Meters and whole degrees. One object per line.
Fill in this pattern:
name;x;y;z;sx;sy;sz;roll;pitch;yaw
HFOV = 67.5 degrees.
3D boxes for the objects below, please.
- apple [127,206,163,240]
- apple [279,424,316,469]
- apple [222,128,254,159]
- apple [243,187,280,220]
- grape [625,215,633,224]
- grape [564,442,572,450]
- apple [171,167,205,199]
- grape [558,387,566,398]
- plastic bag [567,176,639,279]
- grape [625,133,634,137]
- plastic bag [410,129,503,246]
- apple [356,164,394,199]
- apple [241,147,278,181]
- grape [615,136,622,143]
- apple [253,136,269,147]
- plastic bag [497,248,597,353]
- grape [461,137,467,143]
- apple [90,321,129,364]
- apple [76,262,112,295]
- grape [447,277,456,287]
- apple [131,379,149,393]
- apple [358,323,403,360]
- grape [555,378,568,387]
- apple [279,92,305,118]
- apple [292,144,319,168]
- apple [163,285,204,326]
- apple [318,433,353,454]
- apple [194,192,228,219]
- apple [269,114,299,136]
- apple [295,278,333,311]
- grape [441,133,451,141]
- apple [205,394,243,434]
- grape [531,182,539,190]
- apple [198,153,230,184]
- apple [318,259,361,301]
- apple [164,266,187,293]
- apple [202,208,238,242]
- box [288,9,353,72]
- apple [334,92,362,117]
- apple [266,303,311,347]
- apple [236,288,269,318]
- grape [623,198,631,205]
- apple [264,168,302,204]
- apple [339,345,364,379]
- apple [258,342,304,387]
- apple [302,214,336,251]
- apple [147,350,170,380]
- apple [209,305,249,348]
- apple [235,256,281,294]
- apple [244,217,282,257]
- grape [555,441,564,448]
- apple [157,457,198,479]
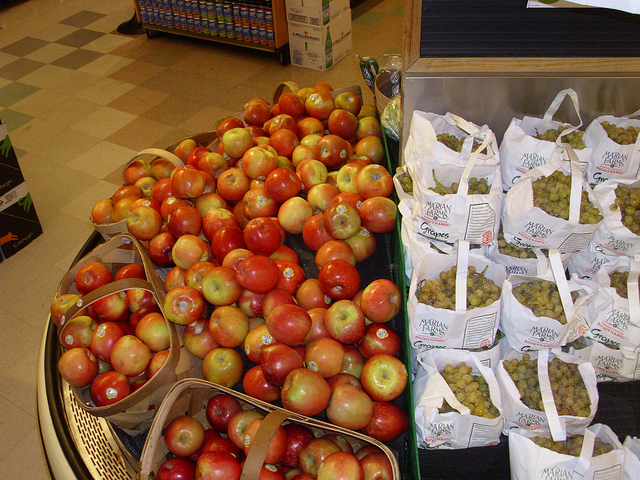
apple;-0.799;-0.073;2.158;0.137;0.149;0.142;-26;-10;25
apple;-0.082;0.718;1.694;0.127;0.138;0.140;0;58;5
apple;-0.417;-0.489;2.471;0.134;0.142;0.139;33;37;9
apple;-0.277;-0.164;2.286;0.151;0.146;0.143;-9;67;5
grape;1.245;-0.079;1.925;0.025;0.027;0.014;33;4;-2
grape;0.878;0.725;1.689;0.017;0.014;0.022;-10;9;7
apple;-0.599;-0.260;2.218;0.129;0.143;0.136;3;37;0
grape;0.882;0.553;1.735;0.026;0.029;0.014;-11;-10;1
plastic bag;1.158;-0.057;1.929;0.165;0.312;0.243;24;72;13
grape;1.315;-0.444;2.025;0.034;0.012;0.012;-3;38;-1
plastic bag;0.538;-0.244;1.926;0.424;0.489;0.315;8;51;13
apple;0.245;-0.269;2.246;0.147;0.155;0.149;-31;25;19
apple;-0.311;-0.381;2.345;0.141;0.161;0.145;-5;15;-2
grape;1.269;-0.423;2.025;0.021;0.024;0.013;19;3;22
apple;-0.304;-0.511;2.469;0.059;0.065;0.062;-1;-6;38
plastic bag;0.835;0.256;1.791;0.293;0.312;0.197;2;46;25
grape;0.625;-0.434;2.071;0.027;0.023;0.029;-6;15;26
apple;-0.857;0.375;1.876;0.091;0.116;0.090;20;9;38
apple;-0.969;0.178;2.045;0.130;0.155;0.147;-8;-13;18
grape;0.495;0.157;1.792;0.026;0.043;0.040;7;39;12
apple;-0.656;0.529;1.734;0.041;0.044;0.040;-22;46;0
apple;0.245;0.380;1.939;0.160;0.141;0.148;21;80;10
grape;0.893;0.520;1.754;0.026;0.017;0.028;-12;29;-16
apple;-0.163;-0.737;2.696;0.132;0.134;0.126;13;2;-45
apple;-0.075;-0.427;2.446;0.100;0.108;0.113;-14;66;10
apple;-0.531;0.251;1.851;0.129;0.151;0.136;1;10;-12
apple;0.055;0.709;1.696;0.075;0.087;0.080;-19;-8;35
apple;-0.529;-0.174;2.325;0.127;0.132;0.131;-22;31;-2
apple;-0.195;-0.615;2.599;0.118;0.123;0.134;13;74;-17
apple;-0.027;0.239;1.982;0.116;0.130;0.119;-7;-18;41
grape;0.547;-0.440;2.052;0.024;0.015;0.031;17;8;11
apple;-0.358;0.625;1.808;0.124;0.133;0.133;-26;-9;8
grape;0.846;-0.212;1.874;0.028;0.027;0.024;0;-10;-44
apple;-0.549;-0.380;2.472;0.142;0.147;0.139;13;2;-41
apple;0.087;0.160;1.984;0.165;0.200;0.185;-2;9;19
apple;-0.617;0.172;2.045;0.066;0.074;0.081;-21;10;6
apple;-0.465;-0.053;2.219;0.151;0.174;0.164;-2;19;-7
box;0.018;-2.410;5.528;0.571;0.563;0.787;18;39;19
apple;0.159;-0.766;2.735;0.121;0.130;0.126;23;11;-26
apple;-0.115;0.319;1.873;0.152;0.153;0.152;26;26;-8
apple;-0.281;0.259;1.968;0.122;0.111;0.111;16;26;-19
grape;1.251;-0.157;1.943;0.025;0.019;0.018;4;39;8
apple;-0.167;-0.247;2.223;0.179;0.139;0.132;-7;38;-6
apple;0.130;0.476;1.884;0.102;0.119;0.115;-15;-13;14
apple;-0.164;0.446;1.794;0.142;0.188;0.161;-1;17;-21
apple;-0.002;-0.033;2.201;0.133;0.149;0.136;10;20;5
apple;-0.593;0.462;1.754;0.096;0.058;0.068;-54;22;-8
apple;-0.352;0.344;1.919;0.139;0.158;0.144;-1;2;37
apple;-0.260;0.121;1.960;0.168;0.154;0.145;-6;27;-32
apple;-0.242;-0.009;2.119;0.142;0.166;0.170;-1;59;12
grape;0.848;0.715;1.683;0.022;0.024;0.024;-10;0;23
apple;-0.486;0.776;1.626;0.078;0.094;0.082;5;69;32
